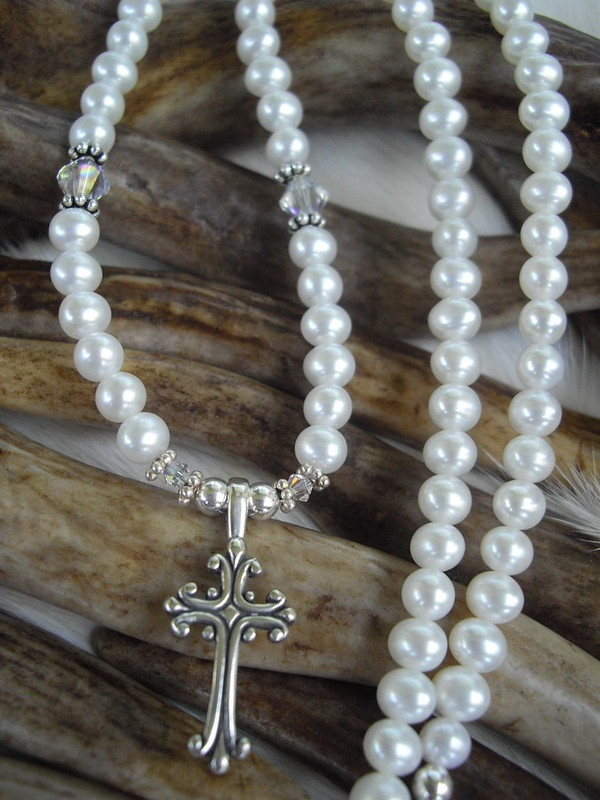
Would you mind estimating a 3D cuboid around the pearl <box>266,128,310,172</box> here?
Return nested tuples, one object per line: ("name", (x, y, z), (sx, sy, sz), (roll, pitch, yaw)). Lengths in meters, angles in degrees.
("pearl", (-0.017, -0.384, 1.374), (0.084, 0.076, 0.072), (-1, 11, -5))

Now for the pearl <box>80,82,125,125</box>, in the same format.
("pearl", (-0.293, -0.442, 1.343), (0.070, 0.057, 0.083), (-14, 19, -1))

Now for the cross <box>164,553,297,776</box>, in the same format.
("cross", (-0.083, 0.284, 1.024), (0.184, 0.226, 0.053), (3, -10, -2))

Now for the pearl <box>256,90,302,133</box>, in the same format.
("pearl", (-0.032, -0.445, 1.383), (0.075, 0.059, 0.037), (-9, -8, -1))

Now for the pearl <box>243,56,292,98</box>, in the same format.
("pearl", (-0.048, -0.497, 1.384), (0.074, 0.058, 0.036), (-9, 1, 2))
